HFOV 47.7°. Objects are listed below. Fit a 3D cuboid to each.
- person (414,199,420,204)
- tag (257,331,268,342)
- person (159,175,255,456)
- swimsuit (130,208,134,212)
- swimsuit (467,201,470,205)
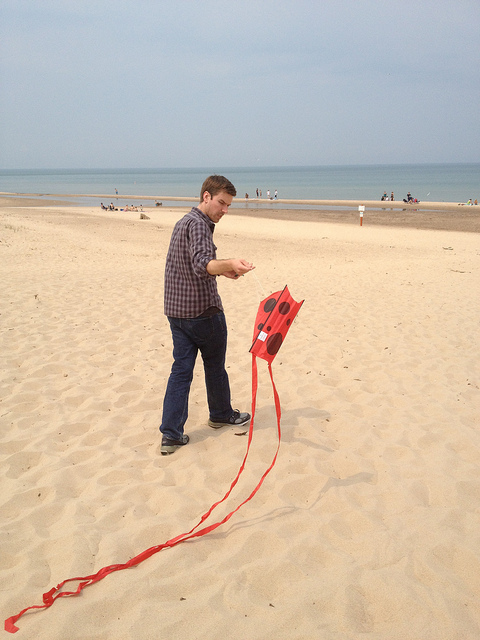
[{"bbox_3d":[14.345,-9.670,44.288,0.256,0.341,0.904,6,14,16],"label":"person"},{"bbox_3d":[0.146,0.108,3.603,0.052,0.056,0.013,21,6,32],"label":"tag"},{"bbox_3d":[-0.150,-0.038,3.812,0.684,1.926,0.829,6,16,19],"label":"person"},{"bbox_3d":[-6.966,-7.064,34.758,0.152,0.162,0.070,-2,-4,38],"label":"swimsuit"},{"bbox_3d":[18.265,-9.394,43.399,0.125,0.218,3.240,7,15,21],"label":"swimsuit"}]
